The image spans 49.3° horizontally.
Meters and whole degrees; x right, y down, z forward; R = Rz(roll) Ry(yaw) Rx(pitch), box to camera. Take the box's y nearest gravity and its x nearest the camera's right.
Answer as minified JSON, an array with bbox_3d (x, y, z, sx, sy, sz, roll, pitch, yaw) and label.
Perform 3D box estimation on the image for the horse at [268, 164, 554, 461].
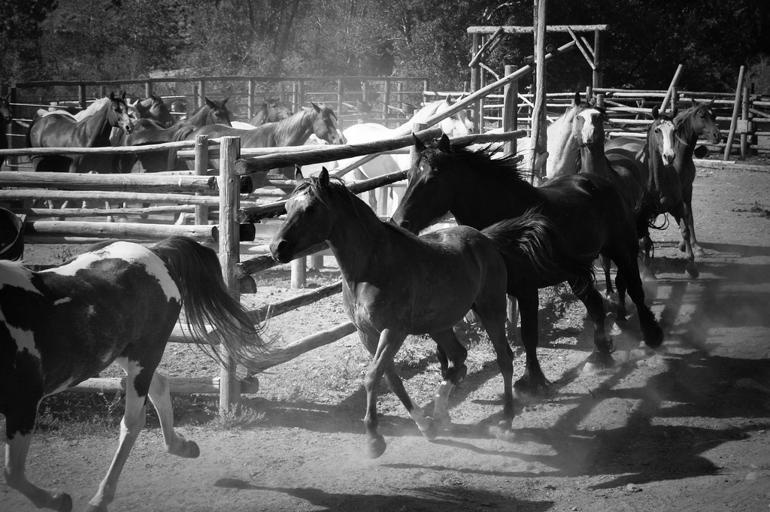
[{"bbox_3d":[0.322,0.624,8.136,2.554,2.234,0.660,-4,1,-34],"label":"horse"}]
